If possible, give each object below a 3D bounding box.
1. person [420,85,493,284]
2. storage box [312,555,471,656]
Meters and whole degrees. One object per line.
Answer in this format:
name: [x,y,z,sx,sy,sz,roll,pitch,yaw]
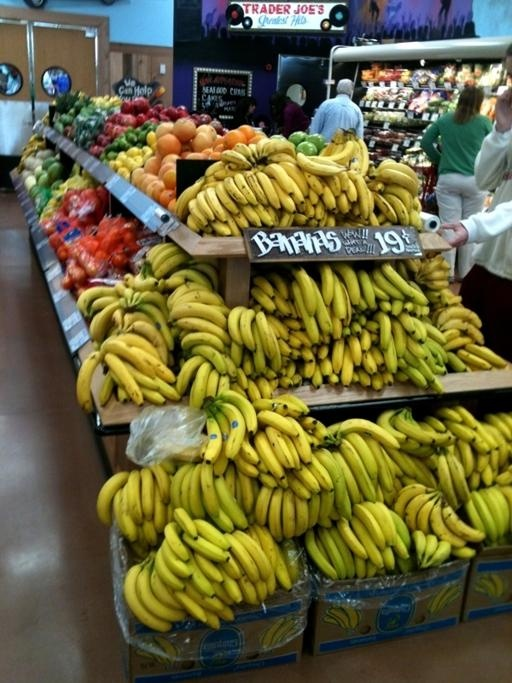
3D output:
person: [2.010,-1.563,5.243,0.682,1.914,0.527,5,-2,-2]
storage box: [0.364,0.754,1.452,0.313,0.201,0.311,-2,0,-16]
